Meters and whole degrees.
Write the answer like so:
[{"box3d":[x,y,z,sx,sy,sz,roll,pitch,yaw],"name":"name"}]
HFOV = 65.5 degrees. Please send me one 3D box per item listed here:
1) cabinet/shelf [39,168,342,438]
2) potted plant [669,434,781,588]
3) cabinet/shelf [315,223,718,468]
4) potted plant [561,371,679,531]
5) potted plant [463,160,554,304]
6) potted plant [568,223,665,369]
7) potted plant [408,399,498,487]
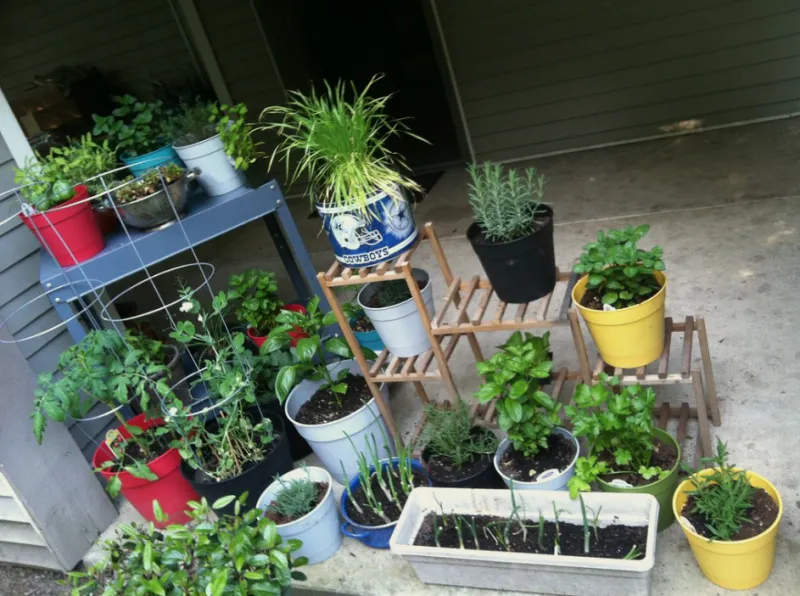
[{"box3d":[-1.149,0.043,3.316,1.424,1.196,0.524,-27,23,-8],"name":"cabinet/shelf"},{"box3d":[1.214,0.828,2.338,0.363,0.444,0.359,-18,26,11],"name":"potted plant"},{"box3d":[0.507,0.254,2.857,1.279,0.931,0.408,-10,33,25],"name":"cabinet/shelf"},{"box3d":[0.874,0.632,2.494,0.451,0.593,0.411,-12,19,7],"name":"potted plant"},{"box3d":[0.467,-0.303,2.652,0.392,0.565,0.331,-17,19,-19],"name":"potted plant"},{"box3d":[0.874,-0.012,2.535,0.363,0.575,0.334,0,37,26],"name":"potted plant"},{"box3d":[0.264,0.723,2.885,0.372,0.364,0.352,-15,41,-2],"name":"potted plant"}]
